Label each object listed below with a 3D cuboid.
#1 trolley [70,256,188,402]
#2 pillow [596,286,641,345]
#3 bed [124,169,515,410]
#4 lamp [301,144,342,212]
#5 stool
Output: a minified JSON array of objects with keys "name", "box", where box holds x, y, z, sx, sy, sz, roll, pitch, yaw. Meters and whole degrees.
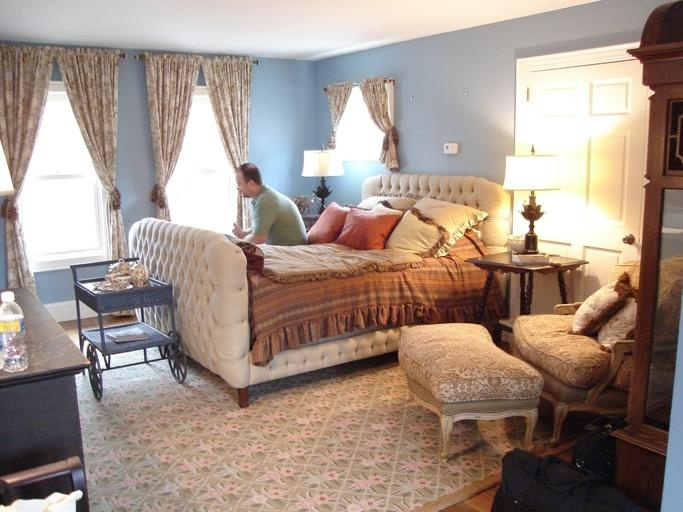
[{"name":"trolley","box":[-1.652,0.542,4.305,0.827,0.807,1.009,-2,9,-25]},{"name":"pillow","box":[1.707,0.397,3.410,0.107,0.352,0.349,31,53,3]},{"name":"bed","box":[-0.024,-0.066,4.799,2.679,1.137,2.157,-10,15,-35]},{"name":"lamp","box":[-0.225,-0.852,6.526,0.523,0.687,0.499,-1,4,-5]},{"name":"stool","box":[0.803,0.729,3.422,0.735,0.456,0.910,-4,12,-12]}]
